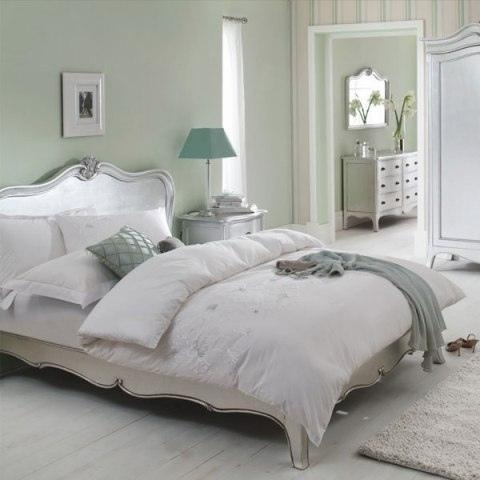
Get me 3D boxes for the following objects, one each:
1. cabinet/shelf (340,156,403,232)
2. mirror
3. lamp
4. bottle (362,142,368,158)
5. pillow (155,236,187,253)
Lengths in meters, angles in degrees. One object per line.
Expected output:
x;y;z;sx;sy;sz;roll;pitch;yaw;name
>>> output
2.071;-0.737;6.866;0.579;1.031;1.020;7;15;41;cabinet/shelf
1.928;-2.112;6.874;0.904;0.889;0.064;-10;15;-31;mirror
-0.296;-0.622;4.196;0.482;0.927;0.548;9;30;15;lamp
1.843;-1.335;6.725;0.092;0.222;0.266;-1;4;16;bottle
-0.397;0.005;2.668;0.102;0.040;0.120;10;14;31;pillow
